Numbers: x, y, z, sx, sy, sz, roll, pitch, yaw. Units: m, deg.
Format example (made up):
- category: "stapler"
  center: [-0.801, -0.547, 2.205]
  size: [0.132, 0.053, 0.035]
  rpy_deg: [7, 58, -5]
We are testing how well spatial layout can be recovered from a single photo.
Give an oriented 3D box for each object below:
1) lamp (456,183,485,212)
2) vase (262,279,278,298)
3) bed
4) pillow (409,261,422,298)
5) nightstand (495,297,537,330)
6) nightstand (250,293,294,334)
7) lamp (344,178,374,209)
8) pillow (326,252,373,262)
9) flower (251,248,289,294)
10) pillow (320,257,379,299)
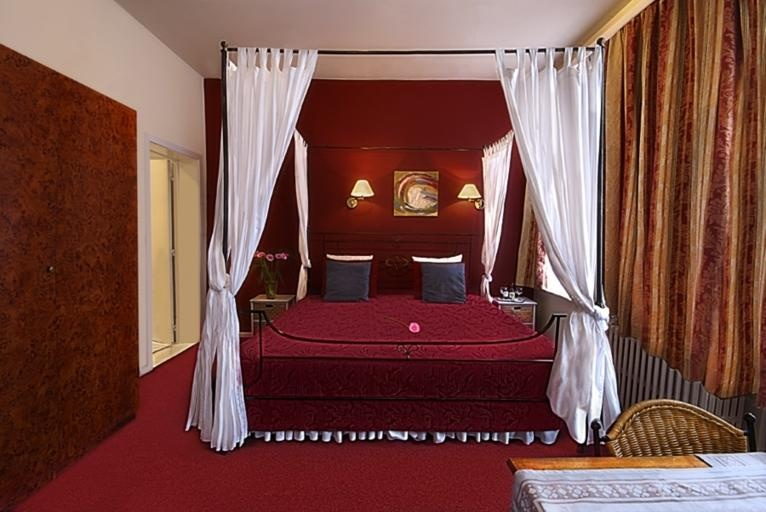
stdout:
- category: "lamp"
  center: [1.017, -0.679, 6.263]
  size: [0.237, 0.320, 0.320]
  rpy_deg: [1, 4, 18]
- category: "vase"
  center: [-1.283, 0.374, 6.227]
  size: [0.170, 0.206, 0.177]
  rpy_deg: [0, 0, 6]
- category: "bed"
  center: [0.187, -0.223, 5.026]
  size: [3.228, 3.581, 0.503]
  rpy_deg: [1, -1, 2]
- category: "pillow"
  center: [0.373, 0.269, 6.108]
  size: [0.127, 0.406, 0.336]
  rpy_deg: [-1, 6, 3]
- category: "nightstand"
  center: [1.456, 0.600, 6.048]
  size: [0.346, 0.368, 0.368]
  rpy_deg: [0, 1, -1]
- category: "nightstand"
  center: [-1.205, 0.570, 5.916]
  size: [0.437, 0.465, 0.465]
  rpy_deg: [-1, -1, -2]
- category: "lamp"
  center: [-0.267, -0.713, 6.300]
  size: [0.271, 0.343, 0.337]
  rpy_deg: [0, 1, -25]
- category: "pillow"
  center: [-0.367, 0.017, 6.183]
  size: [0.508, 0.076, 0.352]
  rpy_deg: [1, 14, 3]
- category: "flower"
  center: [-1.293, 0.147, 6.339]
  size: [0.474, 0.574, 0.444]
  rpy_deg: [-1, 4, -13]
- category: "pillow"
  center: [-0.344, 0.232, 5.909]
  size: [0.437, 0.168, 0.490]
  rpy_deg: [0, 43, 2]
